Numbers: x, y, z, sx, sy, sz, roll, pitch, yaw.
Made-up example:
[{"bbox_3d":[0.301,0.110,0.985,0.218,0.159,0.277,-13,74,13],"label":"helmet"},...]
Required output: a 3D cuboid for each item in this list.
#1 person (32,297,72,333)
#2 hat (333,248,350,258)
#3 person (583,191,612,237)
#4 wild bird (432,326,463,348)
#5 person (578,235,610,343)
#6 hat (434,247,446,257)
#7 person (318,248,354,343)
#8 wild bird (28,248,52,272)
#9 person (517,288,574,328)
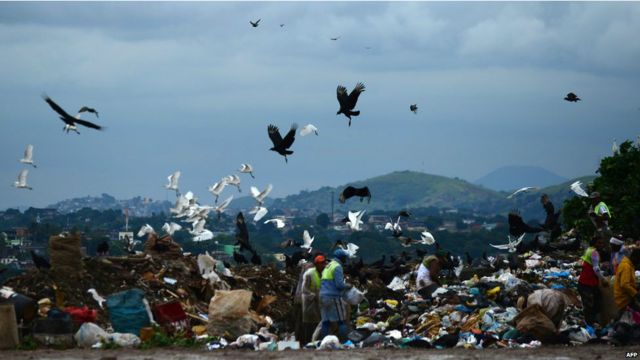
[{"bbox_3d":[-8.781,4.468,26.328,1.104,0.444,1.057,4,1,2],"label":"person"},{"bbox_3d":[0.568,2.449,26.459,0.481,0.163,0.338,-4,0,23],"label":"hat"},{"bbox_3d":[9.693,1.224,28.601,0.732,1.598,1.367,-1,0,19],"label":"person"},{"bbox_3d":[3.996,5.140,26.105,0.621,0.407,1.065,0,1,42],"label":"wild bird"},{"bbox_3d":[8.707,3.357,26.400,0.884,3.002,0.483,-1,0,9],"label":"person"},{"bbox_3d":[3.932,2.503,27.532,0.315,0.226,0.379,-8,0,-16],"label":"hat"},{"bbox_3d":[0.360,3.795,26.347,0.973,2.366,0.826,-1,0,-1],"label":"person"},{"bbox_3d":[-10.082,2.860,28.995,0.619,0.650,1.479,-1,1,-21],"label":"wild bird"},{"bbox_3d":[7.155,4.264,25.951,1.451,1.363,0.675,6,-9,18],"label":"person"}]
